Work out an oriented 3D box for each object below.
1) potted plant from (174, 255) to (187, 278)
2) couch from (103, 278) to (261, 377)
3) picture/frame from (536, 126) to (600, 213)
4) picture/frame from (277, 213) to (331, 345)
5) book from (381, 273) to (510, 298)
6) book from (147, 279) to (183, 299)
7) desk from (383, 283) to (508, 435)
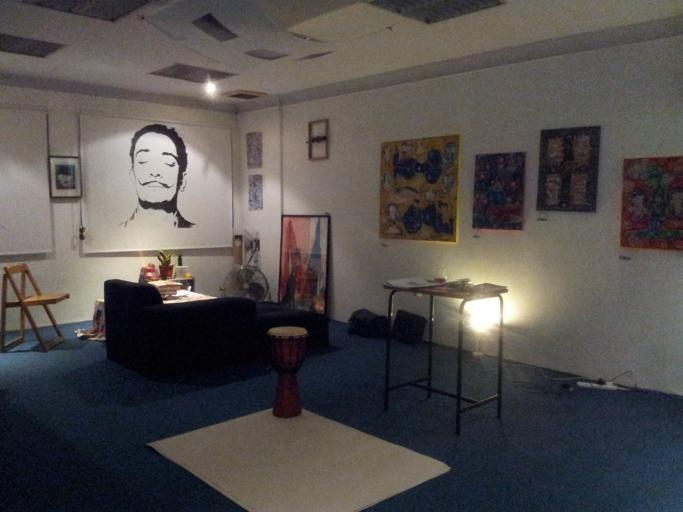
[{"bbox_3d":[-2.565,0.170,8.187,0.223,0.362,1.212,-2,9,-18],"label":"potted plant"},{"bbox_3d":[-2.063,0.872,6.187,1.774,1.131,1.336,-5,-3,43],"label":"couch"},{"bbox_3d":[2.468,-0.926,5.579,0.619,0.902,0.198,5,10,28],"label":"picture/frame"},{"bbox_3d":[-0.630,0.088,8.211,1.155,1.527,0.390,9,12,42],"label":"picture/frame"},{"bbox_3d":[0.918,0.265,4.626,1.046,0.108,0.540,4,9,22],"label":"book"},{"bbox_3d":[-2.348,0.412,6.832,0.356,0.116,0.375,0,3,-37],"label":"book"},{"bbox_3d":[1.130,1.082,5.361,0.755,1.388,1.174,0,2,-43],"label":"desk"}]
